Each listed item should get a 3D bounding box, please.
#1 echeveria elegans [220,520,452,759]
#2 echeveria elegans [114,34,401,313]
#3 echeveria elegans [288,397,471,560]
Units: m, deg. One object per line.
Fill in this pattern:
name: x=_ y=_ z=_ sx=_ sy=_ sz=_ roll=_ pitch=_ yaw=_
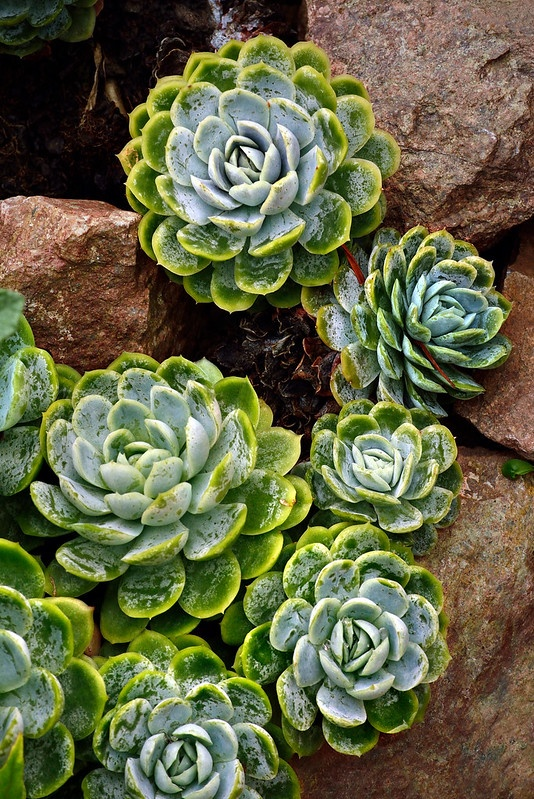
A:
echeveria elegans: x=0.118 y=0.423 z=1.791 sx=0.464 sy=0.181 sz=0.437 roll=21 pitch=73 yaw=-11
echeveria elegans: x=-0.036 y=-0.444 z=2.049 sx=0.630 sy=0.256 sz=0.595 roll=6 pitch=92 yaw=0
echeveria elegans: x=0.223 y=0.178 z=1.947 sx=0.326 sy=0.141 sz=0.333 roll=41 pitch=62 yaw=5
